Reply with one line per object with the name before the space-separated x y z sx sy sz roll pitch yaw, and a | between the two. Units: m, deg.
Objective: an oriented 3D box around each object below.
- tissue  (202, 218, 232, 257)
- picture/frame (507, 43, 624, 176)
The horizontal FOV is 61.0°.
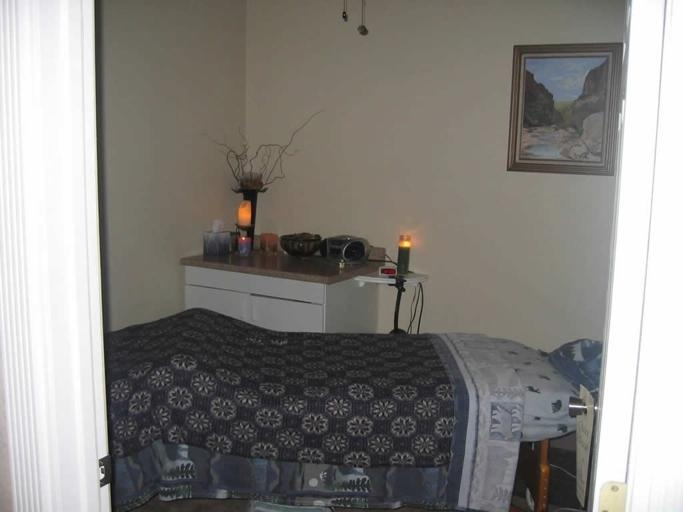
tissue  | -0.696 -0.105 3.235 0.163 0.194 0.084 0 4 -28
picture/frame | 1.112 -0.748 2.896 0.499 0.692 0.032 5 -12 15
